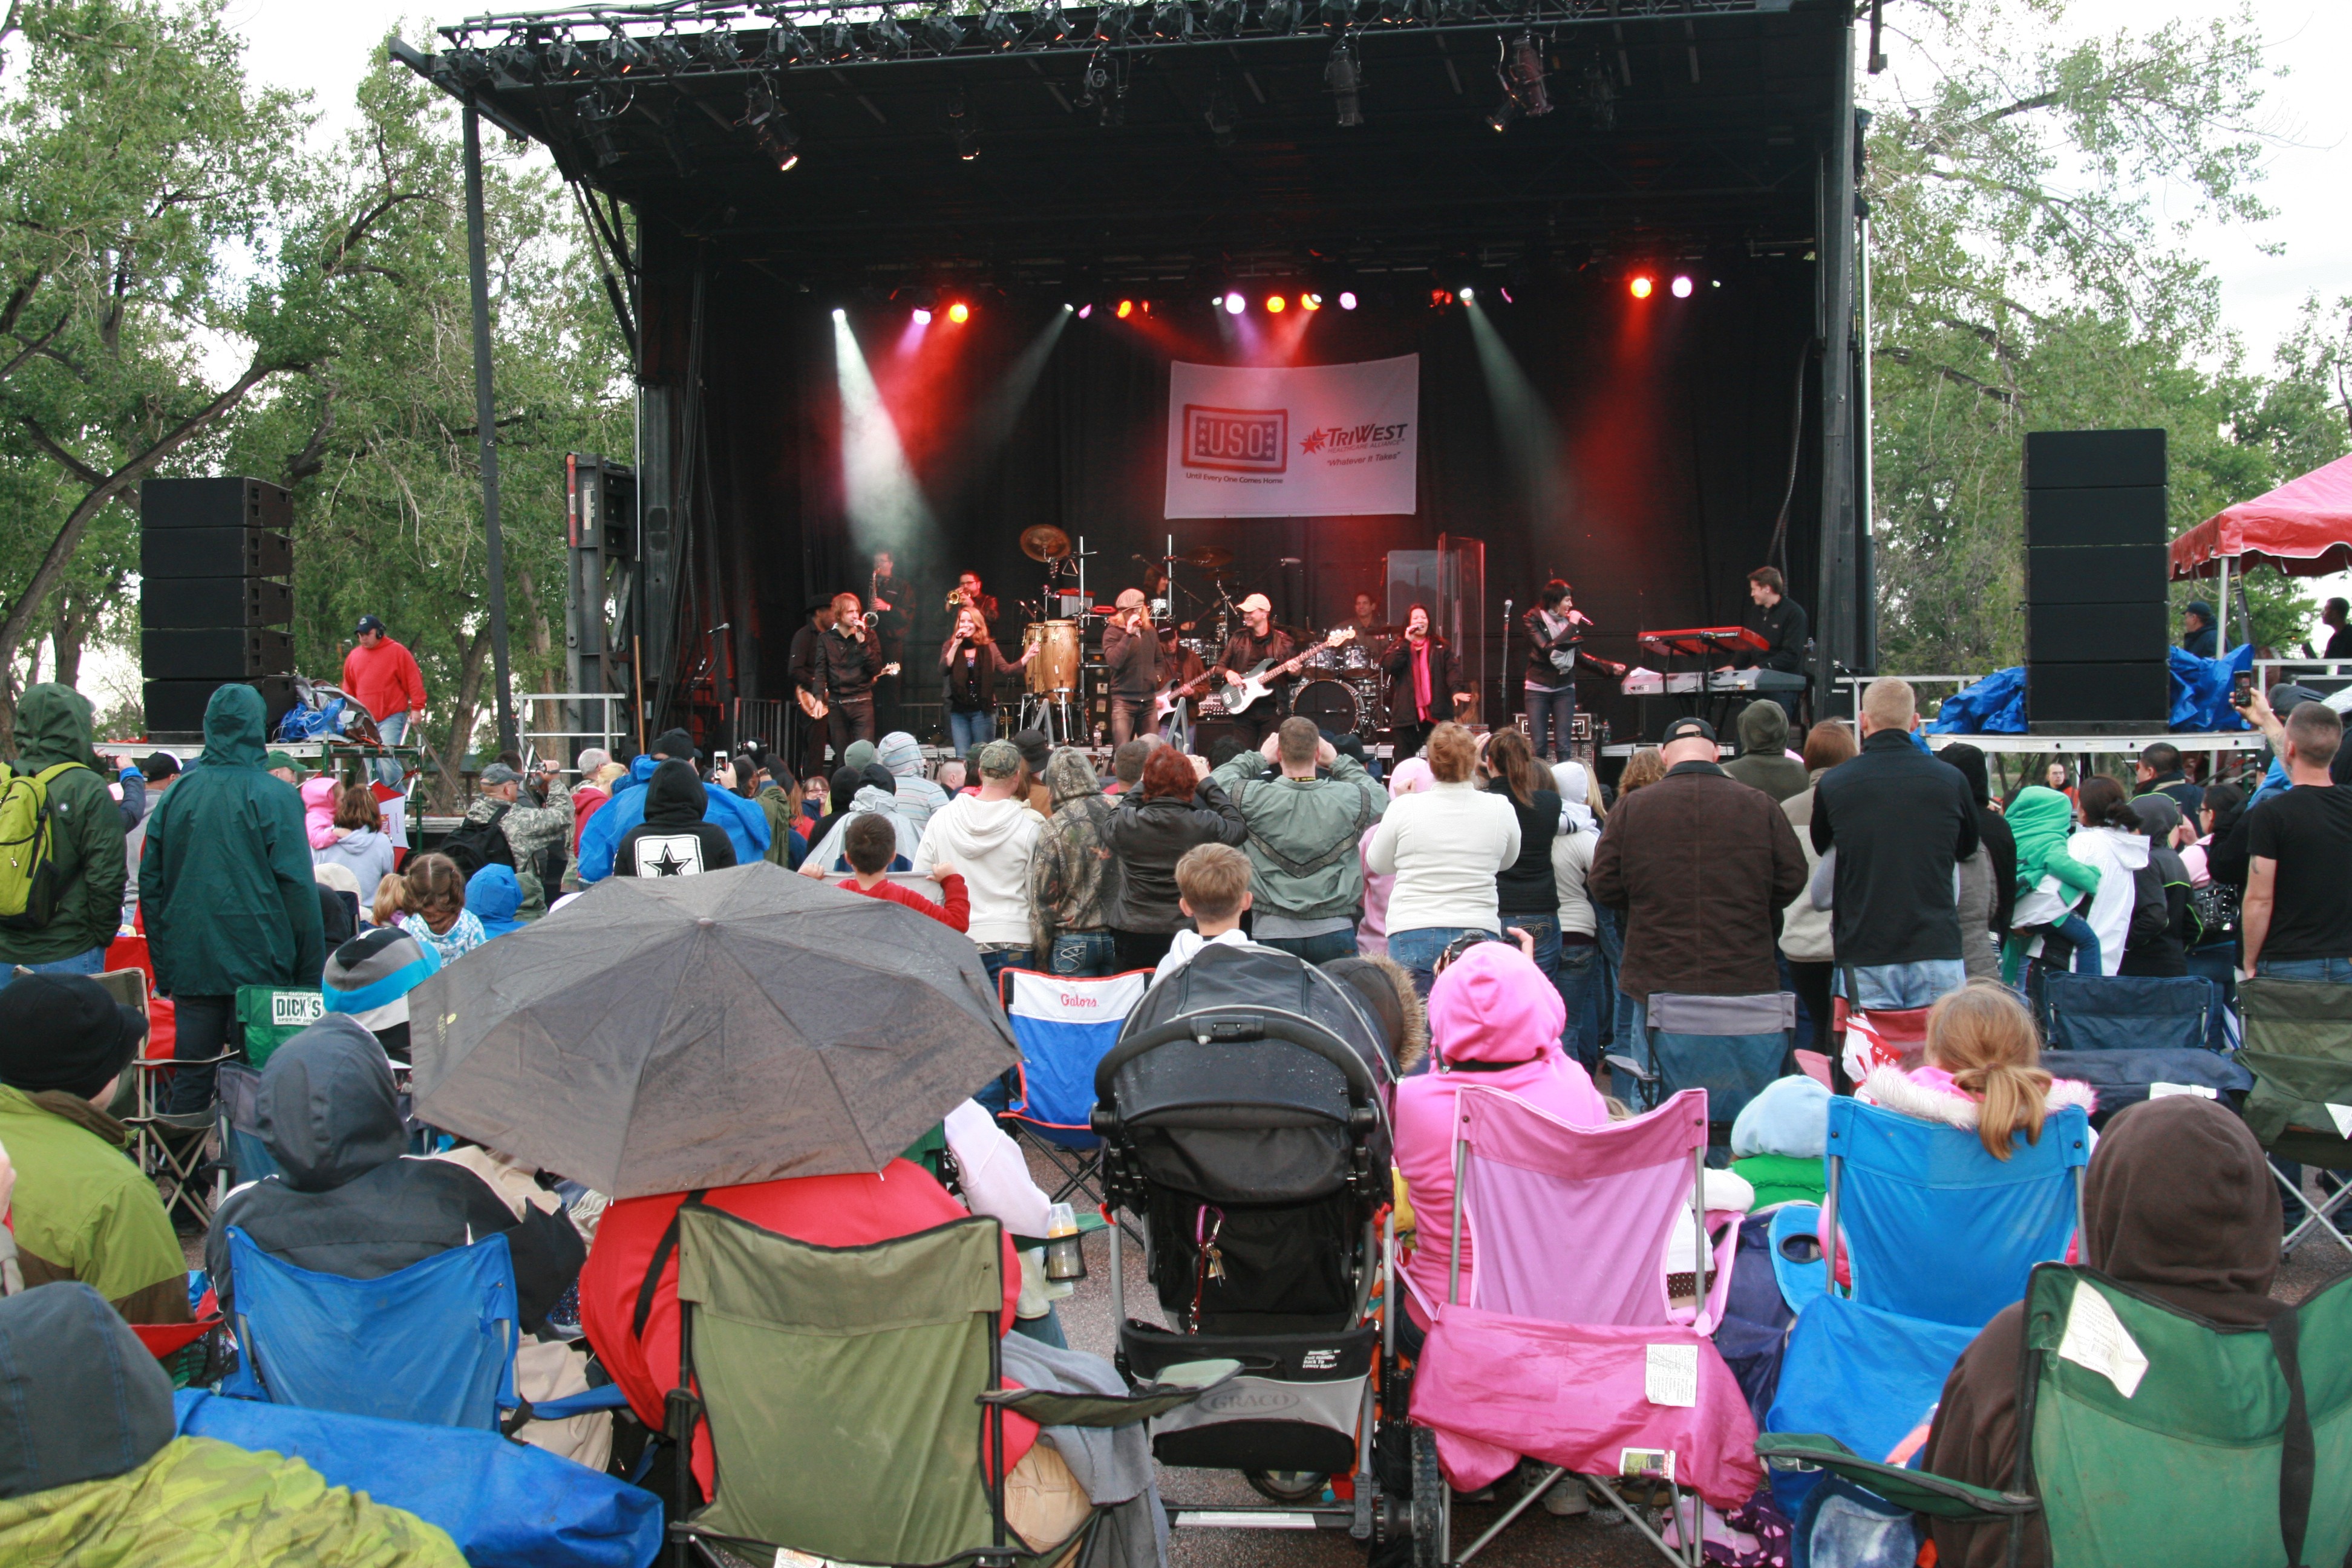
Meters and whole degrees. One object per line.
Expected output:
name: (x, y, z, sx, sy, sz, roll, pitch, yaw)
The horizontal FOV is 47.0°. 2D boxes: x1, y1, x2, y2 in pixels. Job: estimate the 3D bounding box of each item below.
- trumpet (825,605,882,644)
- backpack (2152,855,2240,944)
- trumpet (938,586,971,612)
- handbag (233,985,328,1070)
trumpet: (-2.715, -1.369, 22.695, 0.330, 0.357, 0.285, -3, -2, 45)
backpack: (5.238, 0.560, 13.974, 0.427, 0.499, 0.344, -22, -7, 14)
trumpet: (-1.875, -1.611, 23.400, 0.211, 0.121, 0.291, 2, -2, -30)
handbag: (-3.846, 1.037, 11.637, 0.315, 0.344, 0.182, 2, 2, -9)
